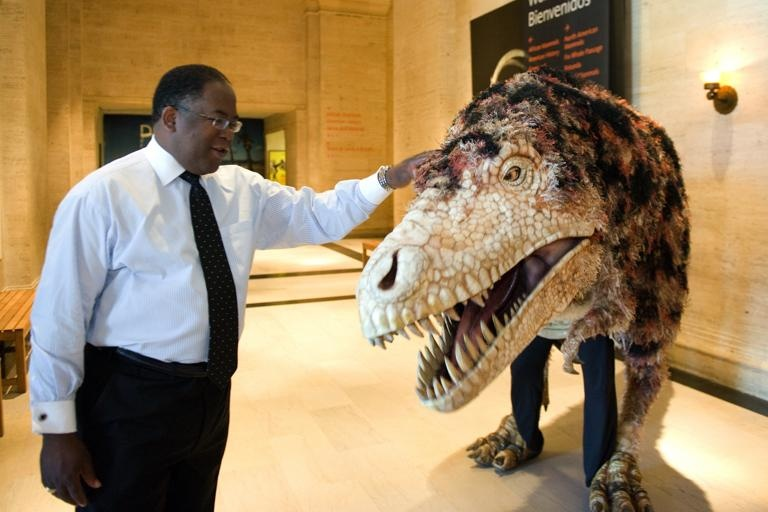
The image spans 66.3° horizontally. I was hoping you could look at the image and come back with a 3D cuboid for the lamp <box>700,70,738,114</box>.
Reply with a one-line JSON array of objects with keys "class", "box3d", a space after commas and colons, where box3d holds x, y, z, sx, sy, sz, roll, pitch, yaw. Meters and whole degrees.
[{"class": "lamp", "box3d": [2.384, -1.135, 4.162, 0.143, 0.195, 0.136, -3, 6, -6]}]
